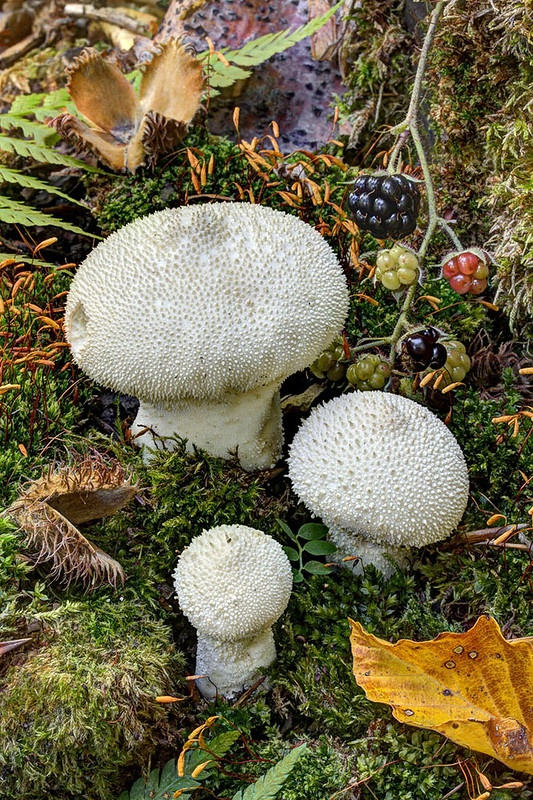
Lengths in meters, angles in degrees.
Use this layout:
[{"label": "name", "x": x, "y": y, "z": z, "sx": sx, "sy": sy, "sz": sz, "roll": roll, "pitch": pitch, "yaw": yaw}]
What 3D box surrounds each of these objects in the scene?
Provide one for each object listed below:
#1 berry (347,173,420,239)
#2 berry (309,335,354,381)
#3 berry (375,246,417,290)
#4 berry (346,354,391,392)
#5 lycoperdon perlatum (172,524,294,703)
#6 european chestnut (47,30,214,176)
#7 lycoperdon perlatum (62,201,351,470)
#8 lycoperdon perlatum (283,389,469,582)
[{"label": "berry", "x": 0.391, "y": -0.642, "z": 2.598, "sx": 0.232, "sy": 0.227, "sz": 0.184, "roll": 7, "pitch": 50, "yaw": 2}, {"label": "berry", "x": 0.242, "y": -0.146, "z": 3.003, "sx": 0.147, "sy": 0.169, "sz": 0.079, "roll": 18, "pitch": 23, "yaw": -21}, {"label": "berry", "x": 0.459, "y": -0.455, "z": 2.685, "sx": 0.152, "sy": 0.070, "sz": 0.143, "roll": -5, "pitch": 83, "yaw": 6}, {"label": "berry", "x": 0.387, "y": -0.102, "z": 2.925, "sx": 0.133, "sy": 0.159, "sz": 0.106, "roll": -13, "pitch": 89, "yaw": 5}, {"label": "lycoperdon perlatum", "x": -0.097, "y": 0.673, "z": 2.522, "sx": 0.367, "sy": 0.529, "sz": 0.424, "roll": -5, "pitch": 51, "yaw": -8}, {"label": "european chestnut", "x": -0.539, "y": -1.171, "z": 3.141, "sx": 0.593, "sy": 0.470, "sz": 0.364, "roll": 0, "pitch": 50, "yaw": -4}, {"label": "lycoperdon perlatum", "x": -0.237, "y": -0.289, "z": 2.902, "sx": 0.954, "sy": 0.848, "sz": 0.873, "roll": -12, "pitch": 35, "yaw": -18}, {"label": "lycoperdon perlatum", "x": 0.384, "y": 0.206, "z": 2.603, "sx": 0.611, "sy": 0.321, "sz": 0.458, "roll": 20, "pitch": 50, "yaw": 13}]
